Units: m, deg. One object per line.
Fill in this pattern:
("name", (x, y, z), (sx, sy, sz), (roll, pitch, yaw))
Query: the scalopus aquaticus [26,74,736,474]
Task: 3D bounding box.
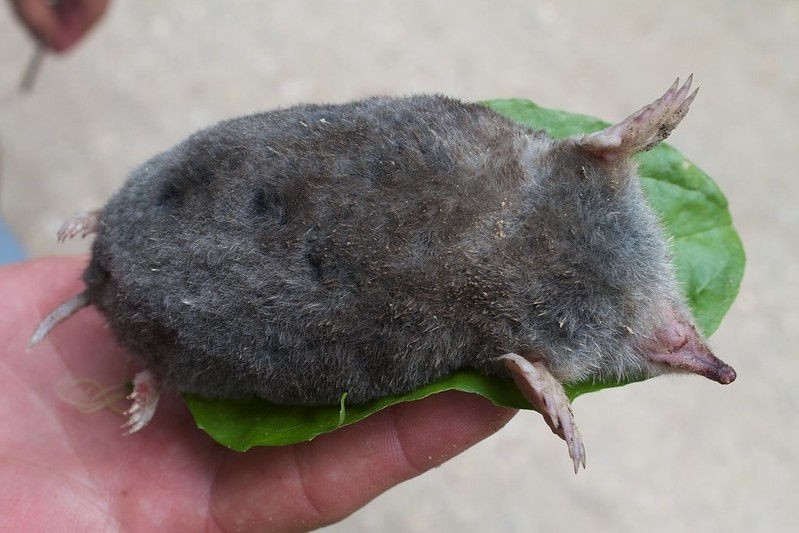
("scalopus aquaticus", (-0.065, -0.079, 4.726), (3.174, 1.087, 2.254), (-4, 61, 6))
